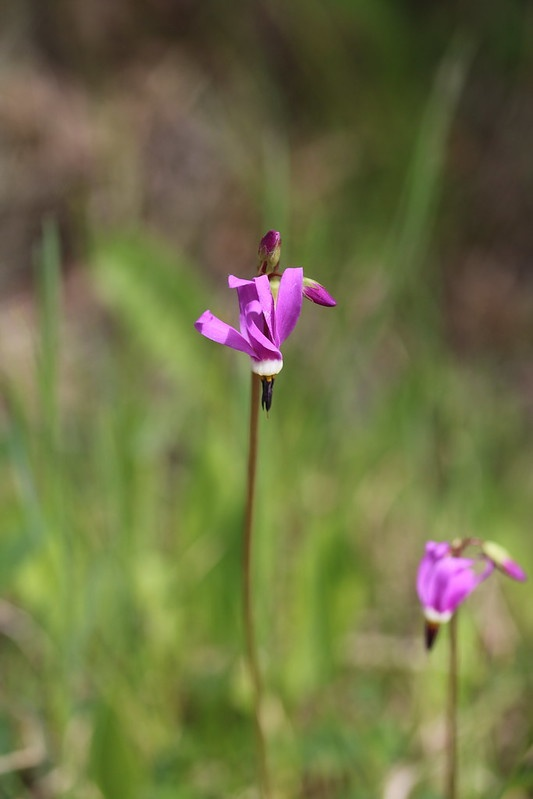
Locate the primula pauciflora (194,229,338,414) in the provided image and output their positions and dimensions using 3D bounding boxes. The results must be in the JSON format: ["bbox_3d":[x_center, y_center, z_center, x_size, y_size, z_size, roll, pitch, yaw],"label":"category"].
[{"bbox_3d":[-0.008,-0.076,0.924,0.107,0.192,0.163,0,1,21],"label":"primula pauciflora"}]
